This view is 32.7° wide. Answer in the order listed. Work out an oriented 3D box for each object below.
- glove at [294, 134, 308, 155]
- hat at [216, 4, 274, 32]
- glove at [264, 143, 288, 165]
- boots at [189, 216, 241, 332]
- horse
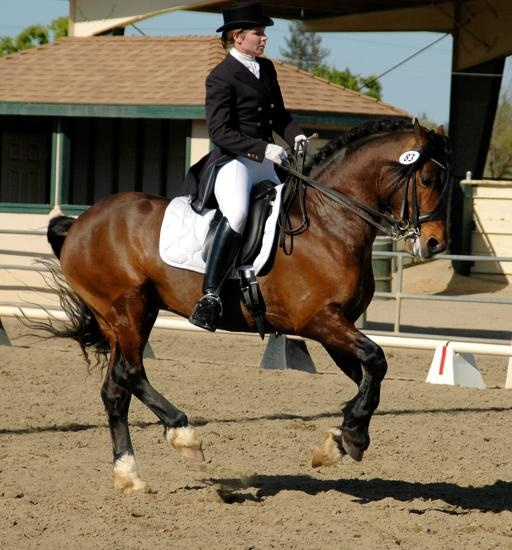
[{"bbox_3d":[0.251,-0.728,4.896,0.089,0.095,0.048,3,-10,-6],"label":"glove"},{"bbox_3d":[-0.057,-1.408,4.798,0.303,0.159,0.266,2,7,-3],"label":"hat"},{"bbox_3d":[0.109,-0.651,4.732,0.103,0.043,0.127,-12,-22,39],"label":"glove"},{"bbox_3d":[-0.214,-0.002,4.682,0.125,0.605,0.265,10,10,38],"label":"boots"},{"bbox_3d":[-0.155,0.258,5.183,3.039,1.995,0.799,-4,-13,38],"label":"horse"}]
